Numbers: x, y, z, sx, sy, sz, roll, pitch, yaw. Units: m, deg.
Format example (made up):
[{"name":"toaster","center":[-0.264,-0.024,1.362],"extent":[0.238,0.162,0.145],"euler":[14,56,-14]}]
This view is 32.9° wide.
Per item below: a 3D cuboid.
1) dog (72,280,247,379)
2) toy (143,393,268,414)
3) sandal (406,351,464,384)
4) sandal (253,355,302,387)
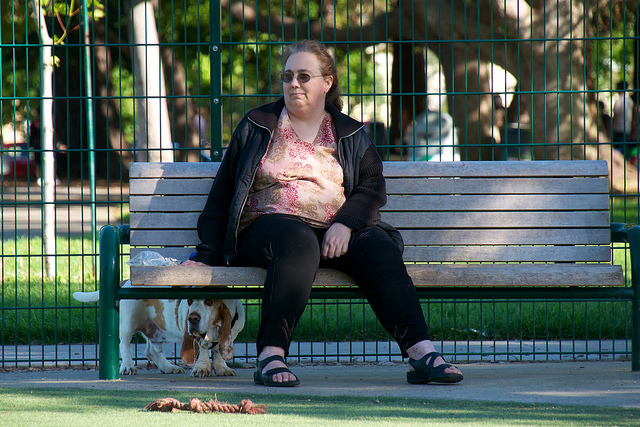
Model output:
[{"name":"dog","center":[-1.434,1.079,9.895],"extent":[1.494,0.884,0.807],"euler":[-1,-4,24]},{"name":"toy","center":[-0.942,1.605,9.000],"extent":[1.010,0.136,0.146],"euler":[-2,2,1]},{"name":"sandal","center":[0.994,1.355,9.476],"extent":[0.475,0.237,0.233],"euler":[-6,-10,27]},{"name":"sandal","center":[-0.370,1.383,9.437],"extent":[0.418,0.202,0.190],"euler":[-5,-3,41]}]
